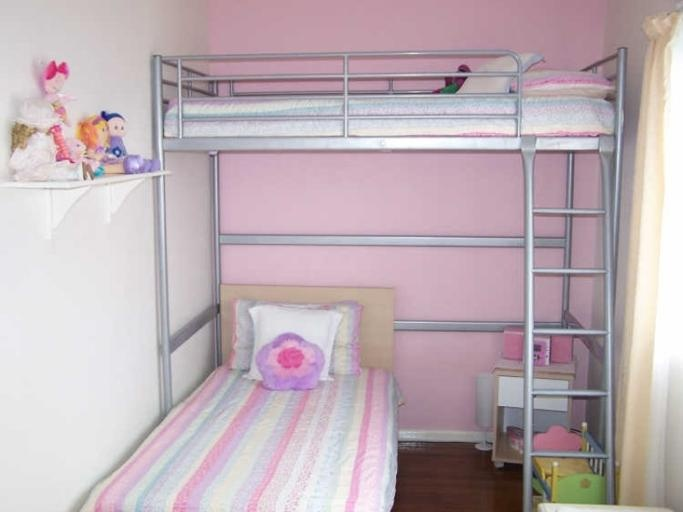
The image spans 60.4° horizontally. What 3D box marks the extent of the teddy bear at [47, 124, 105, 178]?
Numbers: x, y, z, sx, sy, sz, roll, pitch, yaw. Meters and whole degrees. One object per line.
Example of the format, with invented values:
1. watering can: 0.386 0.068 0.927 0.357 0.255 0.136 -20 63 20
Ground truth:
1. teddy bear: -1.133 -0.446 2.480 0.153 0.214 0.175 -23 54 -38

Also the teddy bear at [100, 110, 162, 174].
1. teddy bear: -1.042 -0.543 2.810 0.266 0.281 0.179 4 13 7

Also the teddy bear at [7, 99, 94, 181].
1. teddy bear: -1.170 -0.480 2.454 0.312 0.326 0.287 4 13 -12

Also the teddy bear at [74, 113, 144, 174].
1. teddy bear: -1.112 -0.553 2.820 0.269 0.296 0.253 -5 19 -29

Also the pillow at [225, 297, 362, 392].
1. pillow: -0.316 0.614 3.998 0.897 0.556 0.248 3 0 0

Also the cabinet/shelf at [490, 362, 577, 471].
1. cabinet/shelf: 1.276 1.085 4.201 0.682 0.961 0.712 0 -2 11
